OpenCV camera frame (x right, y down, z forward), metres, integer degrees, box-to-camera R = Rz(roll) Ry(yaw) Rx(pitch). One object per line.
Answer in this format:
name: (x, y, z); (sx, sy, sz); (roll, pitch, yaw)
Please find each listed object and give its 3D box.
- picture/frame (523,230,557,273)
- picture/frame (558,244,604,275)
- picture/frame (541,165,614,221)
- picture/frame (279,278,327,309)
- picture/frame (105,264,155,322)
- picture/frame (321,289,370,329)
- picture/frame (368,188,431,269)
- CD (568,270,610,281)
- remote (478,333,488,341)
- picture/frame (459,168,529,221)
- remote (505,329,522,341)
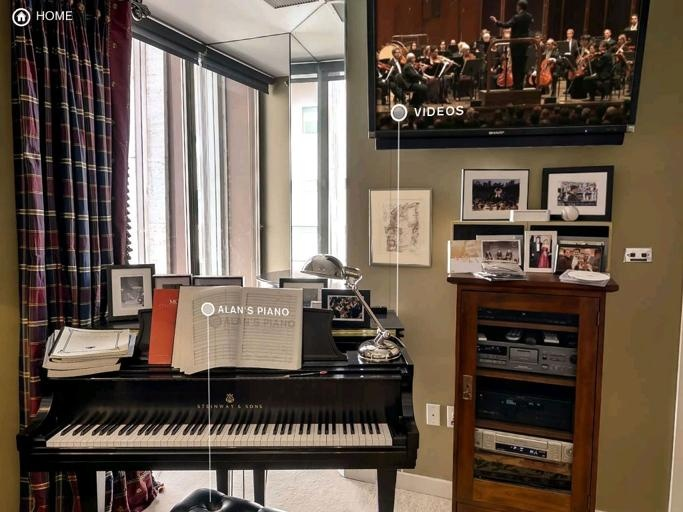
picture/frame: (1.189, -0.024, 3.847); (0.215, 0.332, 0.015); (2, -1, 9)
picture/frame: (1.404, 0.010, 3.810); (0.254, 0.169, 0.024); (1, 3, 14)
picture/frame: (1.422, -0.374, 3.846); (0.296, 0.288, 0.022); (2, 3, 22)
picture/frame: (-0.223, 0.215, 3.600); (0.174, 0.163, 0.014); (2, -31, -7)
picture/frame: (-1.265, 0.216, 3.867); (0.278, 0.378, 0.028); (-1, -31, -21)
picture/frame: (0.018, 0.305, 3.660); (0.212, 0.199, 0.016); (0, 6, -2)
picture/frame: (0.373, -0.189, 4.175); (0.408, 0.545, 0.018); (1, -20, 3)
CD: (1.384, 0.108, 3.604); (0.226, 0.048, 0.127); (1, 2, 16)
remote: (0.812, 0.471, 3.738); (0.035, 0.026, 0.036); (3, -1, -21)
picture/frame: (0.957, -0.384, 3.979); (0.298, 0.284, 0.013); (1, -1, 7)
remote: (0.990, 0.458, 3.722); (0.049, 0.024, 0.095); (0, 27, 20)
